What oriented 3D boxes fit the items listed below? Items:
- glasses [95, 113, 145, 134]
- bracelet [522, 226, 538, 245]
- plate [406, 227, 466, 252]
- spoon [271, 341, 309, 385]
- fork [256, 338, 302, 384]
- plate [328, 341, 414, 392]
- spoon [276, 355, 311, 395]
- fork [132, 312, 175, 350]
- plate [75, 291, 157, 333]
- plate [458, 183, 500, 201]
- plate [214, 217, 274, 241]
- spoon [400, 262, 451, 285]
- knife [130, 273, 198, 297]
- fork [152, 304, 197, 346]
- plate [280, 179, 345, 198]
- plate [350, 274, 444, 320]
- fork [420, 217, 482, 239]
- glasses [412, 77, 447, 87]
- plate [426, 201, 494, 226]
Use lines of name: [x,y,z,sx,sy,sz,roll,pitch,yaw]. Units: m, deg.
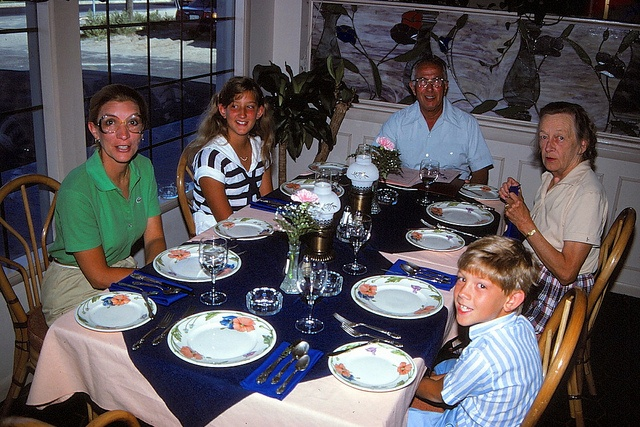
glasses: [-1.042,-0.468,2.172,0.228,0.101,0.082,-6,22,-24]
bracelet: [1.199,0.117,2.344,0.018,0.060,0.056,33,54,-6]
plate: [0.629,0.146,2.284,0.167,0.023,0.168,20,28,36]
spoon: [-0.105,0.507,1.395,0.065,0.040,0.290,6,13,18]
fork: [-0.133,0.511,1.443,0.059,0.029,0.218,20,34,17]
plate: [0.182,0.538,1.456,0.303,0.056,0.209,-1,20,-9]
spoon: [-0.085,0.535,1.420,0.042,0.028,0.197,13,32,23]
fork: [-0.613,0.432,1.540,0.039,0.033,0.231,22,27,14]
plate: [-0.796,0.381,1.614,0.175,0.024,0.168,-9,30,-33]
plate: [1.120,-0.147,2.900,0.168,0.023,0.162,7,25,9]
plate: [-0.423,0.081,2.269,0.177,0.024,0.172,6,22,-2]
spoon: [0.511,0.289,1.978,0.176,0.026,0.096,15,21,15]
knife: [-0.669,0.303,1.763,0.307,0.026,0.100,15,22,14]
fork: [-0.549,0.424,1.560,0.023,0.020,0.188,40,50,12]
plate: [-0.048,-0.143,2.342,0.201,0.027,0.193,7,20,13]
plate: [0.330,0.365,1.803,0.226,0.030,0.217,5,26,5]
fork: [0.755,0.089,2.397,0.347,0.048,0.036,15,7,20]
glasses: [0.887,-1.064,3.371,0.237,0.080,0.059,5,21,8]
plate: [0.865,0.004,2.562,0.219,0.029,0.212,11,27,16]
